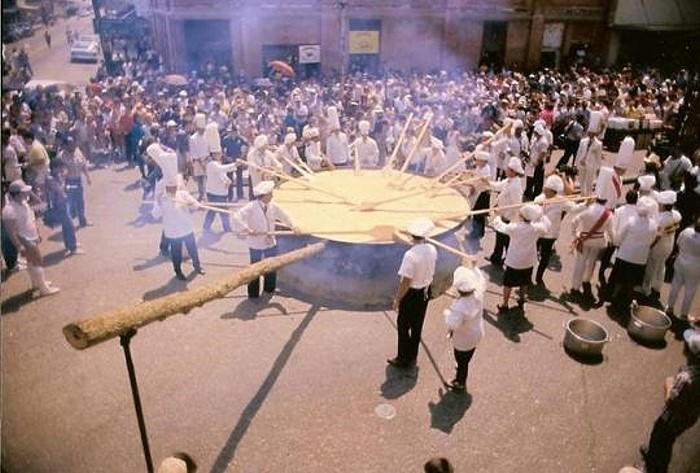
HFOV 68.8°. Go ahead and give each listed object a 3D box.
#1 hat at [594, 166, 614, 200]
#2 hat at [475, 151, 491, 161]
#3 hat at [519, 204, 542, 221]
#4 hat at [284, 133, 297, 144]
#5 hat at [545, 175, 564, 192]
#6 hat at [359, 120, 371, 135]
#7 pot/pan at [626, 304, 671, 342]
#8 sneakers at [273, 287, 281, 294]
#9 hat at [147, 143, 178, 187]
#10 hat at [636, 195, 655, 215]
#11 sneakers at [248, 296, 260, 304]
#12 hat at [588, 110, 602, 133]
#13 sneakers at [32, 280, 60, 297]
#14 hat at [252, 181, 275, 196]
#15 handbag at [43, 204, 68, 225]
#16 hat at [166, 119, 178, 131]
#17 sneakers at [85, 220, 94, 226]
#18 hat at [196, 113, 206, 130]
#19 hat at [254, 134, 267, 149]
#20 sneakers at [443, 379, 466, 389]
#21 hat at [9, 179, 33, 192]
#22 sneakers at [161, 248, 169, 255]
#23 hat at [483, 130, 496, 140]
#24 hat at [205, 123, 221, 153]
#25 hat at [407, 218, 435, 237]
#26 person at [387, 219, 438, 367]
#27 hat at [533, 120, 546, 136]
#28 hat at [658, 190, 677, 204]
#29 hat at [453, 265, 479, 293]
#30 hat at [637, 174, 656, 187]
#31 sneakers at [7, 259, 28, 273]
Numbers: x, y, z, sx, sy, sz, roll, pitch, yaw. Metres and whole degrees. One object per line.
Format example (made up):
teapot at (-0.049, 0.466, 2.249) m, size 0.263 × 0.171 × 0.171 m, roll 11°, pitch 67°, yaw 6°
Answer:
hat at (5.168, -1.060, 10.447) m, size 0.251 × 0.558 × 0.635 m, roll 9°, pitch 23°, yaw 23°
hat at (3.089, -1.853, 11.993) m, size 0.321 × 0.274 × 0.347 m, roll 4°, pitch 21°, yaw 12°
hat at (3.371, -0.470, 9.729) m, size 0.406 × 0.320 × 0.298 m, roll -2°, pitch 57°, yaw 41°
hat at (-1.487, -2.469, 12.979) m, size 0.285 × 0.227 × 0.217 m, roll -33°, pitch 34°, yaw -22°
hat at (4.230, -1.104, 10.551) m, size 0.427 × 0.340 × 0.308 m, roll 11°, pitch 4°, yaw -21°
hat at (0.386, -2.954, 13.990) m, size 0.273 × 0.418 × 0.735 m, roll -1°, pitch 21°, yaw -2°
pot/pan at (5.645, 1.656, 9.709) m, size 0.641 × 0.297 × 0.760 m, roll 17°, pitch 41°, yaw 33°
sneakers at (-1.522, 1.110, 10.690) m, size 0.148 × 0.088 × 0.226 m, roll -5°, pitch 21°, yaw -12°
hat at (-3.841, -1.448, 10.682) m, size 0.830 × 0.828 × 0.830 m, roll -5°, pitch -3°, yaw -26°
hat at (5.741, -0.604, 9.979) m, size 0.221 × 0.248 × 0.315 m, roll -20°, pitch 48°, yaw 3°
sneakers at (-1.938, 1.282, 10.354) m, size 0.217 × 0.120 × 0.100 m, roll 0°, pitch 21°, yaw 0°
hat at (6.556, -3.049, 13.763) m, size 0.261 × 0.616 × 1.007 m, roll 9°, pitch 23°, yaw 22°
sneakers at (-6.228, 1.072, 10.479) m, size 0.383 × 0.266 × 0.146 m, roll -22°, pitch 35°, yaw -39°
hat at (-1.666, -0.945, 10.036) m, size 0.317 × 0.253 × 0.410 m, roll 1°, pitch 21°, yaw 4°
handbag at (-6.599, -0.446, 11.497) m, size 0.612 × 0.453 × 0.181 m, roll 6°, pitch 22°, yaw 15°
hat at (-5.048, -3.132, 14.516) m, size 0.344 × 0.162 × 0.399 m, roll -5°, pitch 22°, yaw -36°
sneakers at (-6.480, -0.310, 12.782) m, size 0.194 × 0.085 × 0.188 m, roll -10°, pitch -11°, yaw -11°
hat at (-3.749, -2.879, 12.978) m, size 0.199 × 0.433 × 0.329 m, roll -9°, pitch 23°, yaw -22°
hat at (-2.112, -2.239, 12.159) m, size 0.282 × 0.300 × 0.352 m, roll -6°, pitch 22°, yaw -16°
sneakers at (1.795, 2.543, 8.786) m, size 0.349 × 0.163 × 0.143 m, roll 11°, pitch 29°, yaw 17°
hat at (-6.381, -0.971, 9.966) m, size 0.218 × 0.121 × 0.318 m, roll 27°, pitch 20°, yaw 39°
sneakers at (-4.224, 0.355, 11.708) m, size 0.183 × 0.121 × 0.101 m, roll -8°, pitch 22°, yaw -20°
hat at (3.478, -2.518, 12.828) m, size 0.300 × 0.194 × 0.392 m, roll 2°, pitch 12°, yaw -2°
hat at (-3.263, -2.358, 12.213) m, size 0.300 × 0.673 × 0.555 m, roll -6°, pitch 22°, yaw -15°
hat at (1.192, -0.158, 8.701) m, size 0.390 × 0.286 × 0.278 m, roll 0°, pitch 21°, yaw 0°
person at (1.084, 1.016, 8.917) m, size 0.478 × 2.632 × 0.811 m, roll 16°, pitch 26°, yaw 36°
hat at (5.113, -2.884, 13.761) m, size 0.300 × 0.375 × 0.568 m, roll 7°, pitch 22°, yaw 19°
hat at (6.197, -0.751, 10.050) m, size 0.259 × 0.264 × 0.343 m, roll -5°, pitch -2°, yaw 4°
hat at (1.861, 0.710, 8.305) m, size 0.321 × 0.368 × 0.242 m, roll 13°, pitch 24°, yaw 30°
hat at (6.074, -1.117, 10.543) m, size 0.269 × 0.239 × 0.311 m, roll 4°, pitch 22°, yaw 4°
sneakers at (-7.171, 0.614, 11.145) m, size 0.286 × 0.171 × 0.404 m, roll -4°, pitch 21°, yaw -10°
